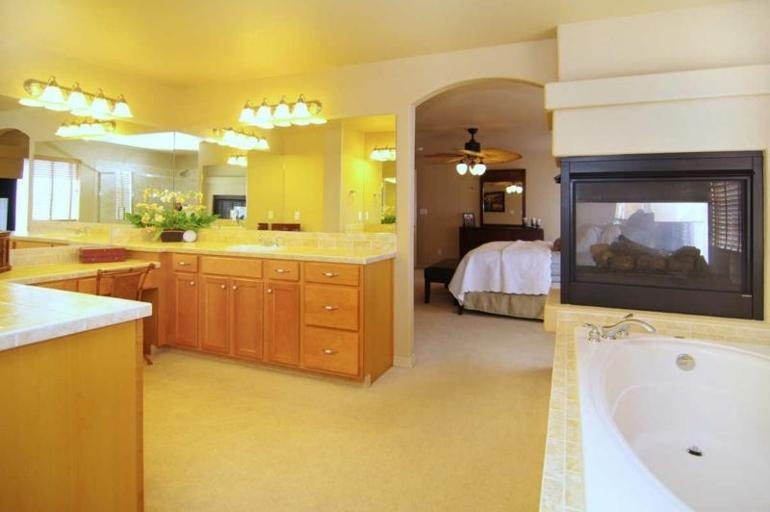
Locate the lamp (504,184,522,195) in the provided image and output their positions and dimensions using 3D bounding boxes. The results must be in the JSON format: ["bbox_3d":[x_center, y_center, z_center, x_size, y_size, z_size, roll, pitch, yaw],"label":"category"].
[{"bbox_3d":[2.453,-1.269,10.040,0.314,0.183,0.058,6,16,17],"label":"lamp"}]

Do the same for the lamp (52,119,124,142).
[{"bbox_3d":[-2.840,-1.187,5.013,0.338,0.124,0.352,-1,2,-13],"label":"lamp"}]

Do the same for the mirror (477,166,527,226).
[{"bbox_3d":[2.281,-1.170,10.106,1.053,1.362,0.093,5,9,30],"label":"mirror"}]

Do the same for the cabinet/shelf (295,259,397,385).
[{"bbox_3d":[-0.192,0.558,4.873,0.863,1.299,0.962,0,-3,25],"label":"cabinet/shelf"}]

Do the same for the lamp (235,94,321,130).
[{"bbox_3d":[-1.035,-1.397,5.184,0.916,0.315,0.407,9,17,26],"label":"lamp"}]

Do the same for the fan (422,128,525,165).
[{"bbox_3d":[1.626,-1.691,8.766,1.154,0.423,1.171,4,9,23],"label":"fan"}]

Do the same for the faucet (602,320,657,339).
[{"bbox_3d":[1.623,0.497,3.555,0.260,0.098,0.180,-20,14,12],"label":"faucet"}]

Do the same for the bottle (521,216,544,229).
[{"bbox_3d":[2.785,-0.634,9.917,0.381,0.187,0.198,4,16,11],"label":"bottle"}]

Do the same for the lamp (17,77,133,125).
[{"bbox_3d":[-2.852,-1.432,4.873,0.871,0.372,0.483,-10,19,-35],"label":"lamp"}]

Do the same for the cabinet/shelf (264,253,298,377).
[{"bbox_3d":[-0.908,0.494,4.656,0.384,0.882,0.247,3,15,10],"label":"cabinet/shelf"}]

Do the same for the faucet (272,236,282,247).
[{"bbox_3d":[-1.094,-0.143,5.362,0.087,0.094,0.087,-4,10,-20],"label":"faucet"}]

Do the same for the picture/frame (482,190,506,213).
[{"bbox_3d":[2.128,-1.068,10.253,0.423,0.401,0.045,6,8,39],"label":"picture/frame"}]

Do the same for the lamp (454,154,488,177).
[{"bbox_3d":[1.442,-1.490,8.801,0.441,0.494,0.479,1,-4,-3],"label":"lamp"}]

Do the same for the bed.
[{"bbox_3d":[1.476,0.228,6.621,0.960,0.477,0.987,1,6,19],"label":"bed"}]

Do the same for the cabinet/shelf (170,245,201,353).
[{"bbox_3d":[-1.900,0.422,5.035,0.371,0.859,0.178,7,16,22],"label":"cabinet/shelf"}]

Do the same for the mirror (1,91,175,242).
[{"bbox_3d":[-2.794,-0.559,5.036,0.874,1.076,1.683,2,5,28],"label":"mirror"}]

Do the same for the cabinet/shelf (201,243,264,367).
[{"bbox_3d":[-1.408,0.451,4.845,0.750,0.881,0.195,7,16,22],"label":"cabinet/shelf"}]
